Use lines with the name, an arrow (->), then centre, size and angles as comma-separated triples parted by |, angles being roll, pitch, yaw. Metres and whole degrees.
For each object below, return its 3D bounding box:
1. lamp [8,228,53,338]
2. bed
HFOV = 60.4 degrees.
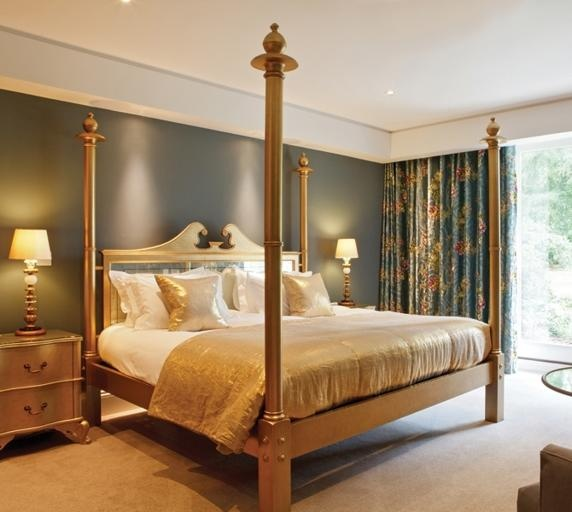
lamp -> -1.791, 0.159, 3.437 | 0.270, 0.730, 0.458 | -1, 3, -28
bed -> -0.213, 0.830, 3.525 | 2.095, 1.631, 2.139 | 0, -1, -43
